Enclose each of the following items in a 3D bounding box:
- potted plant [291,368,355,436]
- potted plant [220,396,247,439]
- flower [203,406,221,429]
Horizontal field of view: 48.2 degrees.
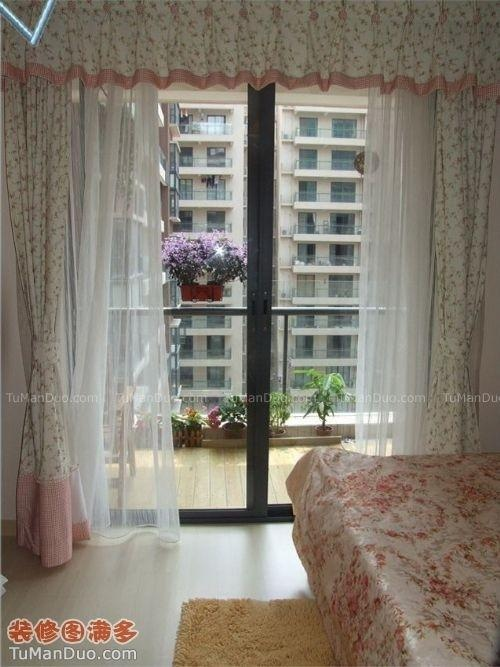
[{"bbox_3d":[0.400,0.376,3.035,0.232,0.383,0.233,3,-5,-25],"label":"potted plant"},{"bbox_3d":[-0.077,0.421,3.002,0.141,0.282,0.179,-1,2,27],"label":"potted plant"},{"bbox_3d":[-0.196,0.441,2.973,0.081,0.111,0.082,-3,2,26],"label":"flower"}]
